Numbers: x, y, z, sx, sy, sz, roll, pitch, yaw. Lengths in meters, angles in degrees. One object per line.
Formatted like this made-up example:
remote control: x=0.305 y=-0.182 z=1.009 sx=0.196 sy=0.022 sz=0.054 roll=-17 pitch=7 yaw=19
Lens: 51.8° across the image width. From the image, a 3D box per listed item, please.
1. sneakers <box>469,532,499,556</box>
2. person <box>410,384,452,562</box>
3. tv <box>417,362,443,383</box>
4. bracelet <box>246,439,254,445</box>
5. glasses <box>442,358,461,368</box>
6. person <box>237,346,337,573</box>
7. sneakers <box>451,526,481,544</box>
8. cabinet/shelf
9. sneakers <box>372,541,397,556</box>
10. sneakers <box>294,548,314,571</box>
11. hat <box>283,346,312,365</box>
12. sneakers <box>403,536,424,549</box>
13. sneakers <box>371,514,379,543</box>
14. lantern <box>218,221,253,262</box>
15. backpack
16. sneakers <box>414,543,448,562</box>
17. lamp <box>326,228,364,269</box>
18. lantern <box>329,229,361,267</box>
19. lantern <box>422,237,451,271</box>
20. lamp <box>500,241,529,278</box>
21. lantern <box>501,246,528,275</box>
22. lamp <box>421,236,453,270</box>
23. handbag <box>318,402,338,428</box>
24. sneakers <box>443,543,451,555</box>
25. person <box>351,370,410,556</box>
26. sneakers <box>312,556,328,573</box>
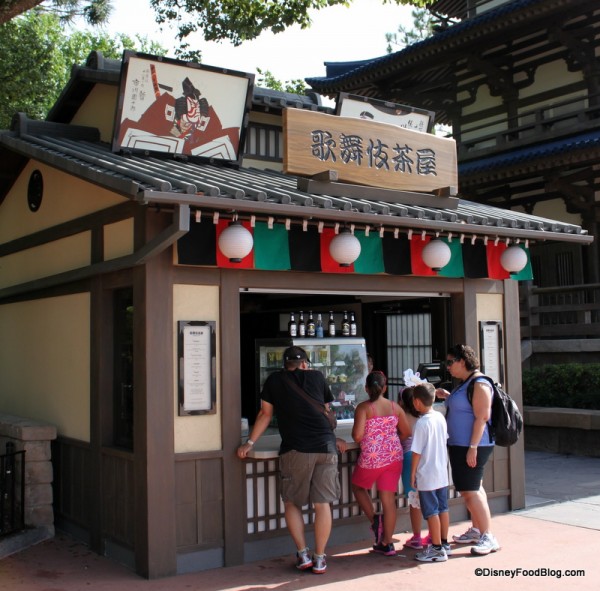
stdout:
sneakers: x=1.733 y=2.327 z=5.789 sx=0.124 sy=0.152 sz=0.332 roll=-10 pitch=-19 yaw=36
person: x=1.215 y=1.619 z=5.693 sx=0.436 sy=1.614 sz=0.246 roll=3 pitch=-4 yaw=-36
tv: x=1.586 y=0.928 z=7.625 sx=0.349 sy=0.359 sz=0.212 roll=1 pitch=-4 yaw=-31
bracelet: x=-0.436 y=1.328 z=5.605 sx=0.041 sy=0.033 sz=0.055 roll=2 pitch=1 yaw=-2
glasses: x=1.536 y=0.673 z=6.259 sx=0.228 sy=0.074 sz=0.230 roll=10 pitch=-11 yaw=-10
person: x=-0.043 y=1.445 z=5.563 sx=0.760 sy=1.971 sz=0.412 roll=0 pitch=-4 yaw=4
sneakers: x=1.677 y=2.396 z=6.198 sx=0.291 sy=0.169 sz=0.118 roll=-1 pitch=-7 yaw=6
cabinet/shelf: x=0.236 y=1.202 z=7.511 sx=1.230 sy=1.174 sz=0.707 roll=7 pitch=-24 yaw=-44
sneakers: x=0.818 y=2.419 z=5.945 sx=0.086 sy=0.099 sz=0.223 roll=3 pitch=-2 yaw=-32
sneakers: x=0.037 y=2.331 z=5.500 sx=0.152 sy=0.198 sz=0.231 roll=0 pitch=-4 yaw=-2
hat: x=-0.015 y=0.547 z=5.721 sx=0.193 sy=0.155 sz=0.332 roll=3 pitch=-3 yaw=16
sneakers: x=1.124 y=2.421 z=6.075 sx=0.076 sy=0.091 sz=0.199 roll=2 pitch=-2 yaw=-23
sneakers: x=0.738 y=2.251 z=5.998 sx=0.114 sy=0.284 sz=0.092 roll=0 pitch=14 yaw=7
lantern: x=-0.565 y=-0.493 z=5.465 sx=0.309 sy=0.409 sz=0.335 roll=2 pitch=2 yaw=28
backpack: x=1.942 y=1.149 z=6.006 sx=0.402 sy=0.679 sz=0.476 roll=-5 pitch=-12 yaw=28
sneakers: x=1.211 y=2.368 z=5.728 sx=0.314 sy=0.204 sz=0.126 roll=2 pitch=-9 yaw=0
lamp: x=0.436 y=-0.468 z=5.894 sx=0.286 sy=0.370 sz=0.302 roll=-1 pitch=1 yaw=5
lantern: x=0.445 y=-0.480 z=5.963 sx=0.282 sy=0.365 sz=0.298 roll=-1 pitch=2 yaw=5
lantern: x=1.494 y=-0.471 z=6.714 sx=0.291 sy=0.361 sz=0.305 roll=2 pitch=-7 yaw=-14
lamp: x=2.553 y=-0.470 z=7.387 sx=0.324 sy=0.394 sz=0.315 roll=0 pitch=1 yaw=-44
lantern: x=2.578 y=-0.417 z=7.327 sx=0.284 sy=0.348 sz=0.292 roll=2 pitch=-6 yaw=-22
lamp: x=1.451 y=-0.446 z=6.580 sx=0.292 sy=0.362 sz=0.305 roll=2 pitch=-6 yaw=-14
handbag: x=0.262 y=1.080 z=5.660 sx=0.217 sy=0.325 sz=0.327 roll=-1 pitch=-13 yaw=-2
sneakers: x=1.373 y=2.350 z=5.754 sx=0.051 sy=0.071 sz=0.158 roll=0 pitch=-3 yaw=-4
person: x=0.789 y=1.594 z=5.934 sx=0.546 sy=1.729 sz=0.290 roll=0 pitch=-4 yaw=6
sneakers: x=0.184 y=2.334 z=5.380 sx=0.070 sy=0.092 sz=0.192 roll=0 pitch=-5 yaw=3
